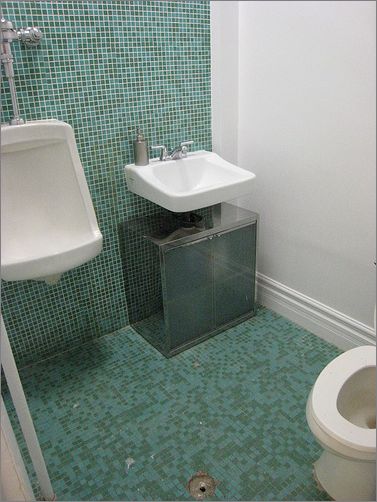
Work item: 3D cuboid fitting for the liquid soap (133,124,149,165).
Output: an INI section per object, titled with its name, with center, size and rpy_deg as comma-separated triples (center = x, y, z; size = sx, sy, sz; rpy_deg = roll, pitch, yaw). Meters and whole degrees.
[liquid soap]
center = -0.230, -0.489, 2.046
size = 0.072, 0.139, 0.060
rpy_deg = -10, 31, -12

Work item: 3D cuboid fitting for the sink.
[sink]
center = 0.028, -0.351, 2.096
size = 0.533, 0.178, 0.448
rpy_deg = -21, 34, -29

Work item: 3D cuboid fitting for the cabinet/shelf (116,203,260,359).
[cabinet/shelf]
center = 0.014, 0.124, 2.359
size = 0.685, 0.601, 0.440
rpy_deg = -18, 25, -38

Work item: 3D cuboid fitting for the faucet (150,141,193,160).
[faucet]
center = -0.098, -0.521, 2.183
size = 0.186, 0.066, 0.050
rpy_deg = -19, 50, -20
